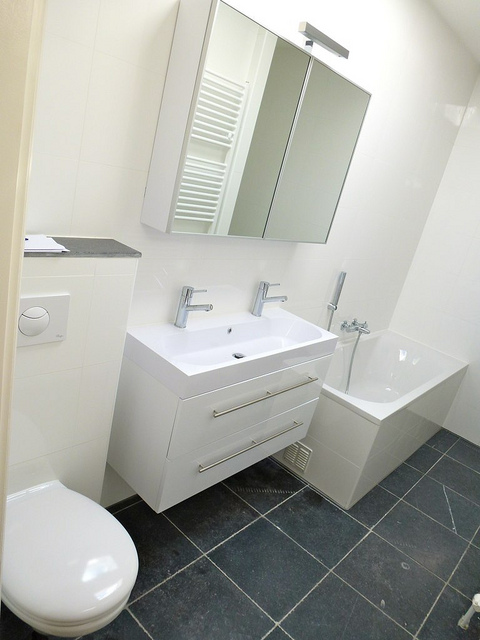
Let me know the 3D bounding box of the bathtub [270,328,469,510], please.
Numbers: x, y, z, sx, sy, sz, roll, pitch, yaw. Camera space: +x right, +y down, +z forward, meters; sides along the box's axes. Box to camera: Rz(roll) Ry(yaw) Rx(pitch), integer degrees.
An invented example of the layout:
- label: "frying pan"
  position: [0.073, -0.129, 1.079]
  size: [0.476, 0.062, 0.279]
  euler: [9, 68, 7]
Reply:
- label: "bathtub"
  position: [0.975, 0.558, 3.038]
  size: [1.444, 0.678, 0.708]
  euler: [-11, 34, -44]

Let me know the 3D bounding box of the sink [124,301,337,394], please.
- label: "sink"
  position: [-0.004, 0.079, 1.959]
  size: [0.432, 0.219, 1.051]
  euler: [31, 23, 36]
